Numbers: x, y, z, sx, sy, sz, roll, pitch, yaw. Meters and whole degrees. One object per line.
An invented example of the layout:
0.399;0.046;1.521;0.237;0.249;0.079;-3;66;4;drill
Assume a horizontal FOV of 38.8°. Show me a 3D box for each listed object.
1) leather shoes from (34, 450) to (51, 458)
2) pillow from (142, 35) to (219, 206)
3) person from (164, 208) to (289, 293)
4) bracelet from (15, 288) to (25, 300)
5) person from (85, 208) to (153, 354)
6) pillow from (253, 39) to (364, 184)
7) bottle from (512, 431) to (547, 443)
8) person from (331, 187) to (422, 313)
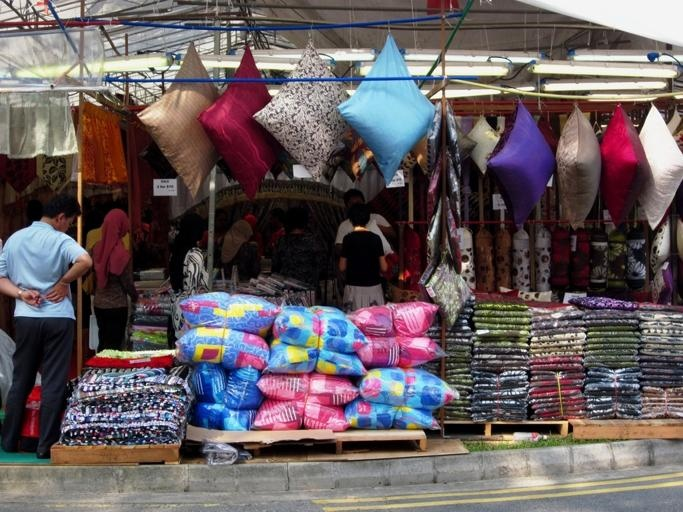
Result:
-2.832;1.871;9.196;0.144;0.078;0.059;-1;7;-13;leather shoes
-1.593;-1.401;9.653;0.644;1.650;0.564;1;-4;4;pillow
-1.588;0.003;11.284;0.856;1.105;0.377;9;-32;-23;person
-3.045;0.351;9.187;0.045;0.094;0.080;1;-12;-10;bracelet
-2.489;0.419;10.784;0.517;1.971;0.528;22;24;37;person
-0.335;-1.489;9.596;1.013;1.354;0.503;5;-5;-35;pillow
1.919;1.850;9.913;0.360;0.084;0.230;3;-4;-1;bottle
0.264;-0.043;11.484;0.690;1.383;1.236;2;-4;1;person
